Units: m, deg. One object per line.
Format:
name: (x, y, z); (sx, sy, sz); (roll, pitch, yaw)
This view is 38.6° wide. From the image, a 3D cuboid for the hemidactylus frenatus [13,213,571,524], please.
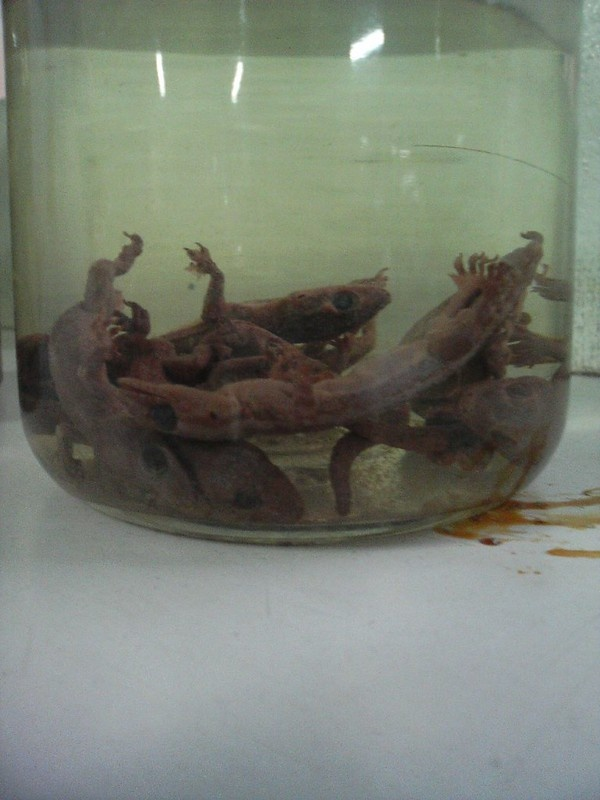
hemidactylus frenatus: (-0.001, -0.008, 0.525); (0.309, 0.157, 0.092); (-7, 18, 9)
